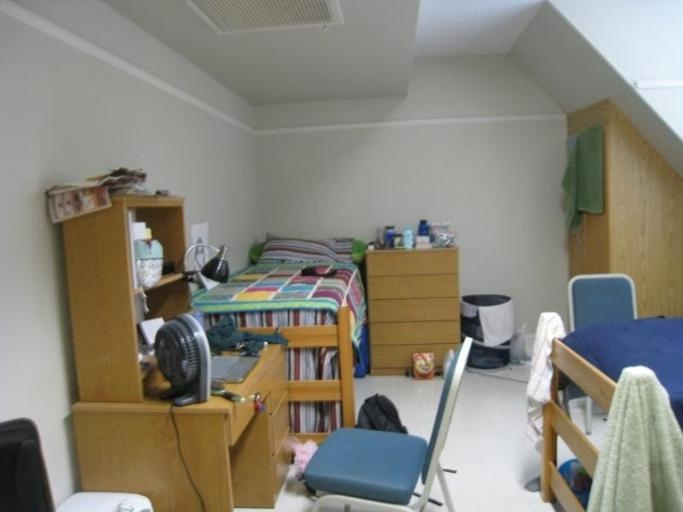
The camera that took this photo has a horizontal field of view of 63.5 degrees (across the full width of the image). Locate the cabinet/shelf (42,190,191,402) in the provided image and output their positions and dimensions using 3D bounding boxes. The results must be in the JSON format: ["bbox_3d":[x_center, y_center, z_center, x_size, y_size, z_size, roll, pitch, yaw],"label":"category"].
[{"bbox_3d":[-1.134,0.176,2.883,0.430,1.023,0.613,3,14,18],"label":"cabinet/shelf"}]

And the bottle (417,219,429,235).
[{"bbox_3d":[0.769,-0.265,5.096,0.105,0.145,0.176,0,13,8],"label":"bottle"}]

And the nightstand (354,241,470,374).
[{"bbox_3d":[0.648,0.374,4.974,0.813,1.205,0.603,0,23,17],"label":"nightstand"}]

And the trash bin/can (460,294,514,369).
[{"bbox_3d":[1.262,0.647,4.935,0.507,0.670,0.590,-2,1,-25],"label":"trash bin/can"}]

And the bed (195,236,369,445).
[{"bbox_3d":[-0.346,0.477,4.308,0.899,1.050,1.767,-2,10,-2],"label":"bed"}]

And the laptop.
[{"bbox_3d":[-0.646,0.522,3.122,0.360,0.127,0.291,4,27,1],"label":"laptop"}]

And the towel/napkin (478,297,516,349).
[{"bbox_3d":[1.343,0.523,4.772,0.273,0.410,0.519,-4,0,34],"label":"towel/napkin"}]

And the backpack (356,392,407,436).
[{"bbox_3d":[0.261,1.013,3.542,0.216,0.140,0.303,2,-2,6],"label":"backpack"}]

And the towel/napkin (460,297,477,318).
[{"bbox_3d":[1.107,0.441,4.787,0.140,0.122,0.127,3,14,13],"label":"towel/napkin"}]

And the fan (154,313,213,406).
[{"bbox_3d":[-0.763,0.495,2.634,0.262,0.419,0.120,2,13,17],"label":"fan"}]

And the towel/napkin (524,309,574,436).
[{"bbox_3d":[1.149,0.672,3.085,0.177,0.720,0.291,4,14,22],"label":"towel/napkin"}]
